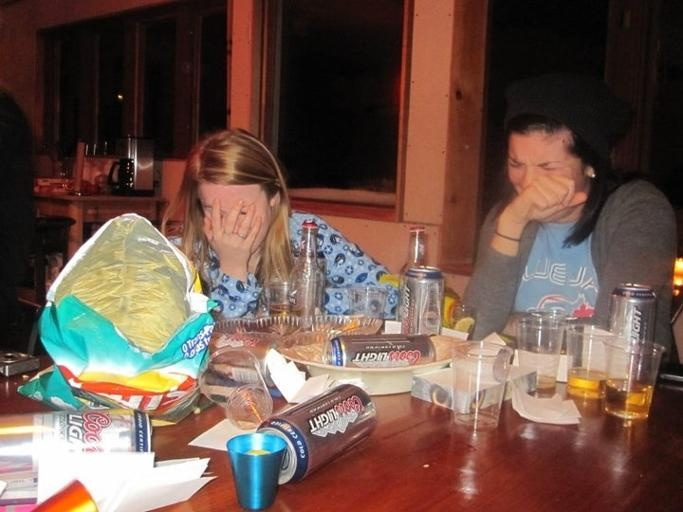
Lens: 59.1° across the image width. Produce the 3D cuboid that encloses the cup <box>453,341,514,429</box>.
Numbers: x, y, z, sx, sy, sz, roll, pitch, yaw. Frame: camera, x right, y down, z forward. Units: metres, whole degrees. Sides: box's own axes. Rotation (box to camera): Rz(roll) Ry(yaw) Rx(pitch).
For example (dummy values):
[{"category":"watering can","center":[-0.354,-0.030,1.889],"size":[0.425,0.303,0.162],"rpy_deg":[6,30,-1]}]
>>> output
[{"category":"cup","center":[0.253,0.234,1.106],"size":[0.138,0.140,0.120],"rpy_deg":[2,-1,13]}]

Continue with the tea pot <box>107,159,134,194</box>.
[{"category":"tea pot","center":[-1.568,-0.556,4.294],"size":[0.093,0.257,0.384],"rpy_deg":[-1,2,-36]}]

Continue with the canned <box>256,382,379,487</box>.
[{"category":"canned","center":[-0.036,0.286,0.979],"size":[0.074,0.125,0.198],"rpy_deg":[2,2,44]}]

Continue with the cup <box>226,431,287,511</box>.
[{"category":"cup","center":[-0.120,0.316,0.925],"size":[0.102,0.103,0.099],"rpy_deg":[0,8,0]}]

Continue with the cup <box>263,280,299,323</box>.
[{"category":"cup","center":[-0.148,0.110,1.493],"size":[0.088,0.125,0.080],"rpy_deg":[-1,1,0]}]

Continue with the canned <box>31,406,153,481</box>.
[{"category":"canned","center":[-0.366,0.278,0.897],"size":[0.233,0.092,0.092],"rpy_deg":[3,-18,-22]}]

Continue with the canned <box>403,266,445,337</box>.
[{"category":"canned","center":[0.181,0.103,1.339],"size":[0.095,0.155,0.153],"rpy_deg":[0,1,6]}]

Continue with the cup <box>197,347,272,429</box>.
[{"category":"cup","center":[-0.181,0.232,1.067],"size":[0.123,0.125,0.159],"rpy_deg":[11,10,-27]}]

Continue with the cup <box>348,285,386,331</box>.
[{"category":"cup","center":[0.065,0.124,1.474],"size":[0.100,0.141,0.094],"rpy_deg":[0,5,0]}]

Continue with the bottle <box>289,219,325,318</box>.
[{"category":"bottle","center":[-0.086,0.029,1.518],"size":[0.083,0.244,0.200],"rpy_deg":[0,1,-2]}]

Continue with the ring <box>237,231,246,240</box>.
[{"category":"ring","center":[-0.298,-0.062,1.796],"size":[0.021,0.008,0.018],"rpy_deg":[19,7,19]}]

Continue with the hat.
[{"category":"hat","center":[0.720,-0.424,1.950],"size":[0.337,0.201,0.249],"rpy_deg":[9,8,6]}]
